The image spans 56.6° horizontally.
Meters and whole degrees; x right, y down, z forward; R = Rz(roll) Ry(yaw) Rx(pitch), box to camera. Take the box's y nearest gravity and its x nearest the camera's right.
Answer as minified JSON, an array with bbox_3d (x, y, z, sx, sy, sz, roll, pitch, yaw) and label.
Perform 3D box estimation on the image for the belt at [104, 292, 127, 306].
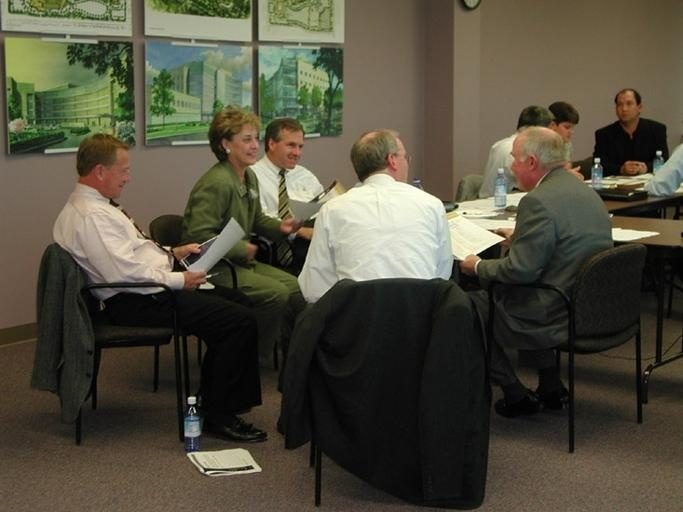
[{"bbox_3d":[-1.127,0.215,3.140,0.078,0.067,0.084,-6,2,6],"label":"belt"}]

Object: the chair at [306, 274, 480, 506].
[{"bbox_3d":[0.214,0.517,2.484,0.650,0.936,0.367,9,24,24],"label":"chair"}]

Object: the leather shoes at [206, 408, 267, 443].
[{"bbox_3d":[-0.535,0.856,3.189,0.306,0.131,0.130,5,2,16],"label":"leather shoes"}]

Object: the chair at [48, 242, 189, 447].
[{"bbox_3d":[-1.105,0.352,3.274,0.595,1.021,0.595,-1,10,-8],"label":"chair"}]

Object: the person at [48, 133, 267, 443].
[{"bbox_3d":[-0.910,0.170,3.327,0.895,1.537,0.601,-3,8,-17],"label":"person"}]

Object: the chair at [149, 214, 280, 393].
[{"bbox_3d":[-0.818,0.267,3.640,0.668,0.919,0.522,14,24,40],"label":"chair"}]

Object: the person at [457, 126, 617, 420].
[{"bbox_3d":[1.014,0.164,3.300,0.663,1.534,0.709,-1,12,2],"label":"person"}]

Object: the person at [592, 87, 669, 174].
[{"bbox_3d":[2.826,-0.979,6.180,0.672,1.277,0.689,-2,8,16],"label":"person"}]

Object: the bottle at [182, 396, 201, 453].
[{"bbox_3d":[-0.737,0.768,3.100,0.087,0.295,0.291,-3,14,-12],"label":"bottle"}]

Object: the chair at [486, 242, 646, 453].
[{"bbox_3d":[1.165,0.415,3.232,0.616,1.010,0.628,-7,10,-25],"label":"chair"}]

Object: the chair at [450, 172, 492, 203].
[{"bbox_3d":[1.070,-0.573,5.300,0.235,0.312,0.215,-2,4,-37],"label":"chair"}]

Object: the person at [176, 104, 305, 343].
[{"bbox_3d":[-0.570,-0.073,3.795,0.717,1.574,0.686,7,14,11],"label":"person"}]
